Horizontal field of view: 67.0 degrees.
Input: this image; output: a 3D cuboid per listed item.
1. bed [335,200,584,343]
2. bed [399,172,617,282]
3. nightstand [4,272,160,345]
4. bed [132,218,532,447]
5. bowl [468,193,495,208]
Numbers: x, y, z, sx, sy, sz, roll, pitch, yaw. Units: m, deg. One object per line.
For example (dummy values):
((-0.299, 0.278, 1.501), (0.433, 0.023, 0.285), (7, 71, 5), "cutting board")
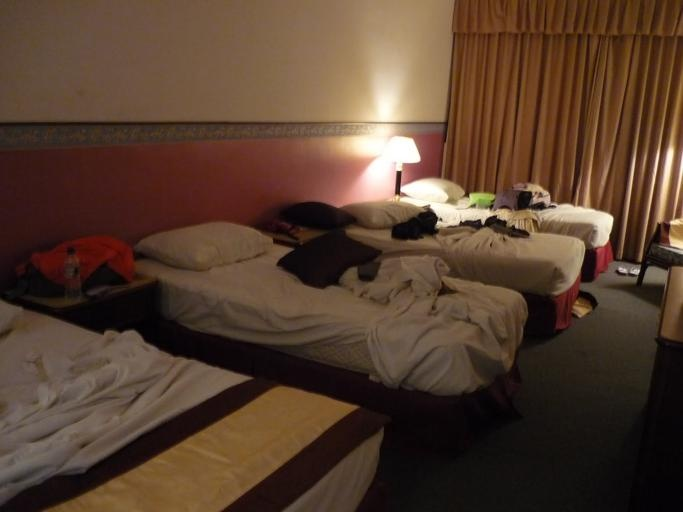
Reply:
((1.006, -0.059, 4.491), (1.821, 0.713, 1.107), (13, 24, 34), "bed")
((1.817, -0.465, 5.681), (1.908, 0.720, 1.220), (12, 21, 33), "bed")
((-1.561, 0.198, 3.166), (0.440, 0.305, 0.474), (19, 28, 27), "nightstand")
((-0.156, 0.352, 3.260), (2.119, 0.813, 1.261), (11, 18, 32), "bed")
((1.580, -0.646, 5.927), (0.203, 0.070, 0.227), (-13, 17, -24), "bowl")
